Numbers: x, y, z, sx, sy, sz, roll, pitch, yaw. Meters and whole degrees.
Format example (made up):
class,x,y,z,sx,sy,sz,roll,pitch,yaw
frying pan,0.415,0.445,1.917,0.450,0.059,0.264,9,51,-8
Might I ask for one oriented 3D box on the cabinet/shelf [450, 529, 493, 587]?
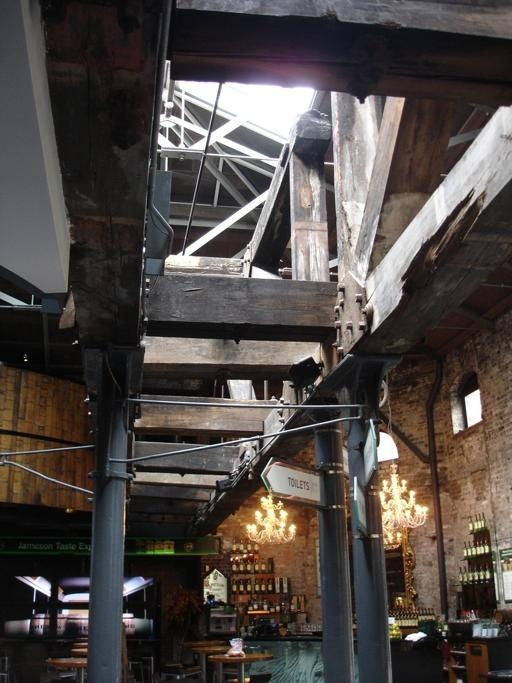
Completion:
class,x,y,z,sx,sy,sz,roll,pitch,yaw
cabinet/shelf,3.704,3.718,11.472,0.592,1.010,1.072,3,-23,4

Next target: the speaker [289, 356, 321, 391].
class,x,y,z,sx,sy,sz,roll,pitch,yaw
speaker,0.354,0.233,4.649,0.207,0.154,0.308,-11,-22,19

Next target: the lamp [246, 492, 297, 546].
class,x,y,z,sx,sy,sz,roll,pitch,yaw
lamp,0.334,3.969,15.310,1.144,1.101,2.704,-4,-21,2
